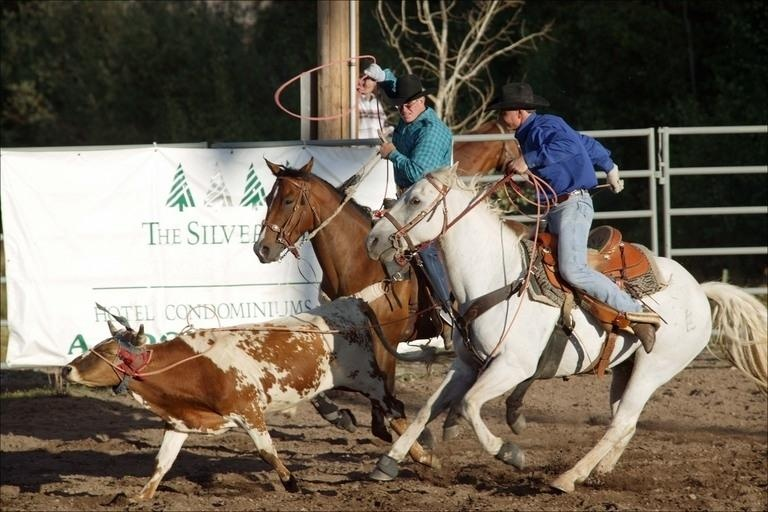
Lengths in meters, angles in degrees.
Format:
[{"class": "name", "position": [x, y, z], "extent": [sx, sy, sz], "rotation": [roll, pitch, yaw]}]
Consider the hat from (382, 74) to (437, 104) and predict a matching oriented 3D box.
[{"class": "hat", "position": [0.362, -2.278, 18.808], "extent": [0.457, 0.222, 0.540], "rotation": [-5, 10, 35]}]

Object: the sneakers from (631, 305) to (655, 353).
[{"class": "sneakers", "position": [3.431, 1.021, 18.243], "extent": [0.299, 0.674, 0.227], "rotation": [-17, 10, -13]}]

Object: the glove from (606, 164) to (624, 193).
[{"class": "glove", "position": [3.114, -1.008, 18.523], "extent": [0.123, 0.375, 0.281], "rotation": [-15, 18, 23]}]

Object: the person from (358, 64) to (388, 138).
[{"class": "person", "position": [-0.203, -2.329, 22.755], "extent": [0.514, 1.458, 0.453], "rotation": [-3, -17, -4]}]
